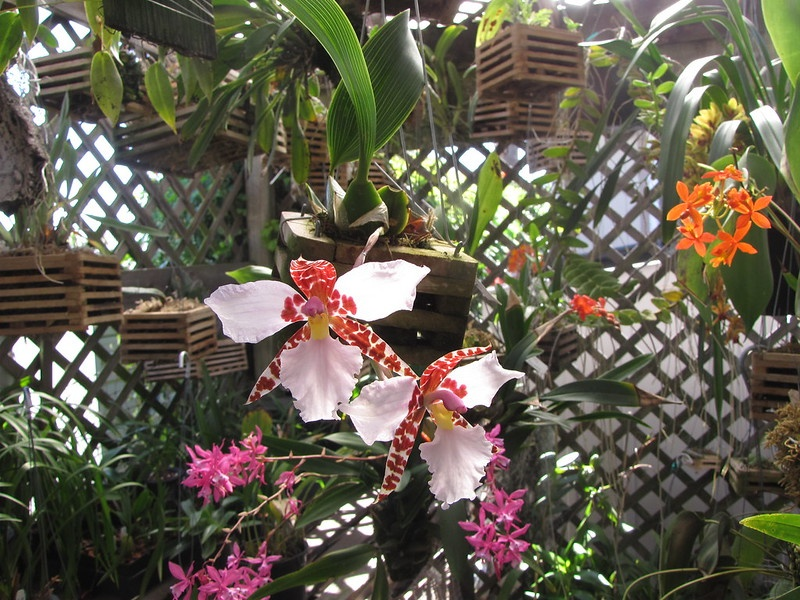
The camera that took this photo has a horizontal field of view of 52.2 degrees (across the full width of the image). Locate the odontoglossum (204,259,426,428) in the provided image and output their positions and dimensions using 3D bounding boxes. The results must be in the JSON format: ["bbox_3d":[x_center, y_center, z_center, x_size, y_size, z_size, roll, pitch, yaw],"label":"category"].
[{"bbox_3d":[-0.169,0.081,1.784,0.454,0.448,0.167,-11,48,-11],"label":"odontoglossum"}]

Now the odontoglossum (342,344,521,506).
[{"bbox_3d":[0.068,0.233,1.743,0.332,0.394,0.278,-4,37,-8],"label":"odontoglossum"}]

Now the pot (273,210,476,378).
[{"bbox_3d":[-0.044,-0.005,1.987,0.355,0.422,0.252,6,-1,-13],"label":"pot"}]
